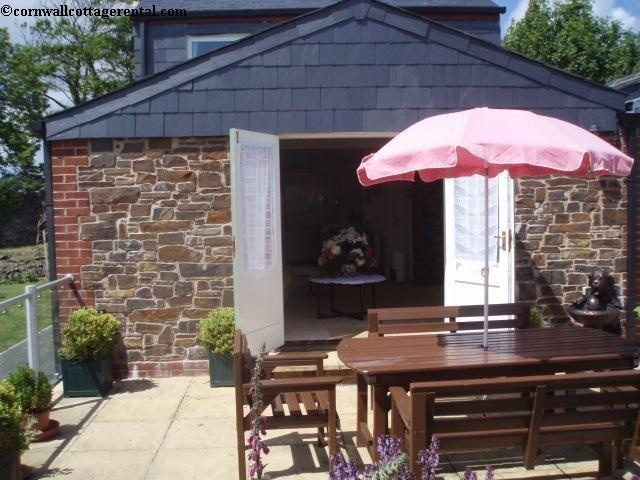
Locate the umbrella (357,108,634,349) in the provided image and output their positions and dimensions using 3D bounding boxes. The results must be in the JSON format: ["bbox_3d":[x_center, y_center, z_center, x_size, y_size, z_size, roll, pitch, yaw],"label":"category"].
[{"bbox_3d":[1.796,-0.077,7.330,2.796,2.335,2.626,0,4,2],"label":"umbrella"}]

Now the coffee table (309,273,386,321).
[{"bbox_3d":[0.398,0.815,10.493,0.935,0.410,0.882,-2,7,-2],"label":"coffee table"}]

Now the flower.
[{"bbox_3d":[0.494,0.198,11.029,1.047,0.432,1.294,0,4,-1],"label":"flower"}]

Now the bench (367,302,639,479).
[{"bbox_3d":[1.790,1.260,6.438,1.698,0.754,1.606,-2,-3,1],"label":"bench"}]

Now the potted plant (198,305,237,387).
[{"bbox_3d":[-1.261,1.327,8.379,0.433,0.922,0.494,-4,14,-11],"label":"potted plant"}]

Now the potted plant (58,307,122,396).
[{"bbox_3d":[-2.774,1.369,8.118,0.631,0.974,0.454,-4,14,-10],"label":"potted plant"}]

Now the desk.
[{"bbox_3d":[1.657,1.515,6.678,2.938,0.941,0.914,-4,7,-6],"label":"desk"}]
